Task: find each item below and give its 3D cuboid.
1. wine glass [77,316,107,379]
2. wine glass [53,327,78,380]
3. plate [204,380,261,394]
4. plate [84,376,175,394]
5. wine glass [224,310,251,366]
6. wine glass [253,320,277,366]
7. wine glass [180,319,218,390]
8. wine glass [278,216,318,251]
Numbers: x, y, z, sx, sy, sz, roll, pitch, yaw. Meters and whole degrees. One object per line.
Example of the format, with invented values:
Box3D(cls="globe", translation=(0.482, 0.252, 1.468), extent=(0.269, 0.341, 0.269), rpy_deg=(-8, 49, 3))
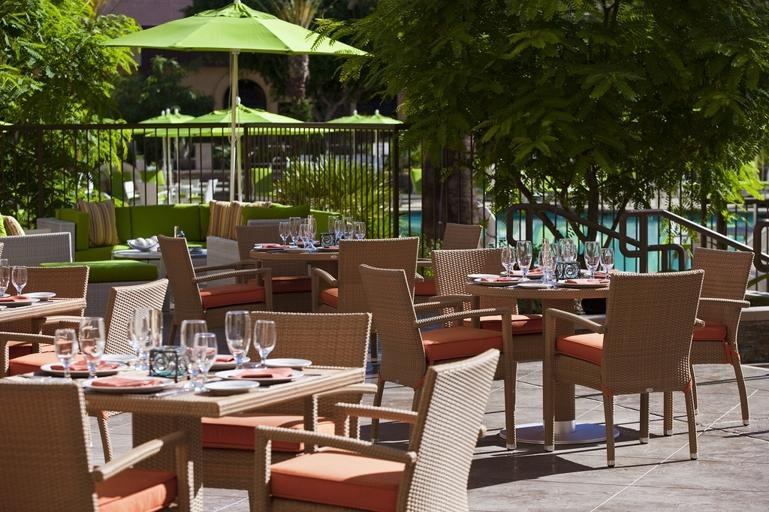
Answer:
Box3D(cls="wine glass", translation=(-1.359, 0.435, 4.238), extent=(0.109, 0.269, 0.202), rpy_deg=(-3, 9, -18))
Box3D(cls="wine glass", translation=(-1.461, 0.453, 4.180), extent=(0.092, 0.245, 0.205), rpy_deg=(-4, 9, -21))
Box3D(cls="plate", translation=(-0.681, 0.584, 4.032), extent=(0.240, 0.030, 0.168), rpy_deg=(-1, 8, -4))
Box3D(cls="plate", translation=(-1.129, 0.575, 4.064), extent=(0.403, 0.049, 0.207), rpy_deg=(1, 8, 3))
Box3D(cls="wine glass", translation=(-0.685, 0.401, 4.317), extent=(0.115, 0.283, 0.209), rpy_deg=(-2, 9, -9))
Box3D(cls="wine glass", translation=(-0.586, 0.419, 4.429), extent=(0.101, 0.270, 0.341), rpy_deg=(-2, 9, -8))
Box3D(cls="wine glass", translation=(-0.838, 0.439, 4.120), extent=(0.152, 0.288, 0.275), rpy_deg=(-2, 9, -13))
Box3D(cls="wine glass", translation=(-0.862, -0.227, 9.135), extent=(0.355, 0.413, 0.386), rpy_deg=(0, -1, -10))
